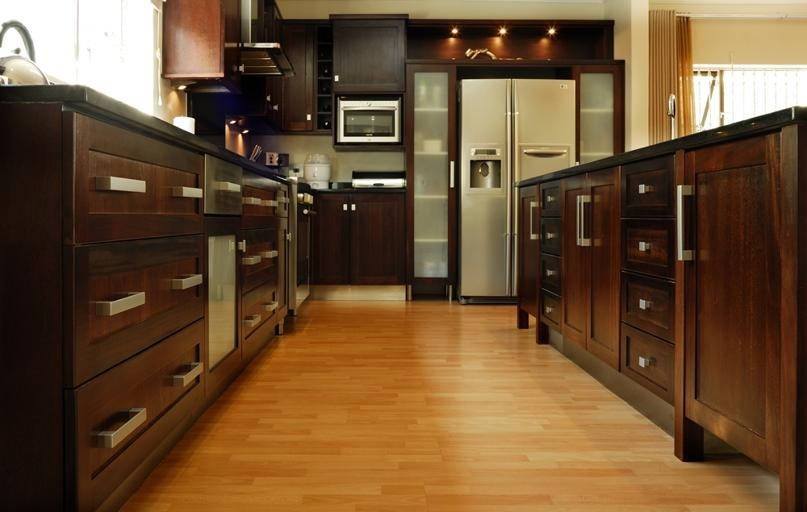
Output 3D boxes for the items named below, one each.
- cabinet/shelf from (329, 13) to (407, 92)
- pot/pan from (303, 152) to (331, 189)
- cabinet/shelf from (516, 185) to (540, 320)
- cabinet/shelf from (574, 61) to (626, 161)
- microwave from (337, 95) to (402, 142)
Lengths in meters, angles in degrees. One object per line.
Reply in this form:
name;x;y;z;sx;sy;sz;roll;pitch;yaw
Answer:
cabinet/shelf;-0.333;-1.837;5.828;0.708;0.670;0.468;-2;33;-7
pot/pan;-0.789;-0.761;5.982;0.288;0.403;0.316;0;-4;-3
cabinet/shelf;0.813;0.028;4.274;0.122;0.957;0.494;0;5;9
cabinet/shelf;1.762;-1.285;5.784;0.407;0.860;0.124;-3;5;-20
microwave;-0.315;-1.159;5.698;0.601;0.432;0.371;0;0;1
